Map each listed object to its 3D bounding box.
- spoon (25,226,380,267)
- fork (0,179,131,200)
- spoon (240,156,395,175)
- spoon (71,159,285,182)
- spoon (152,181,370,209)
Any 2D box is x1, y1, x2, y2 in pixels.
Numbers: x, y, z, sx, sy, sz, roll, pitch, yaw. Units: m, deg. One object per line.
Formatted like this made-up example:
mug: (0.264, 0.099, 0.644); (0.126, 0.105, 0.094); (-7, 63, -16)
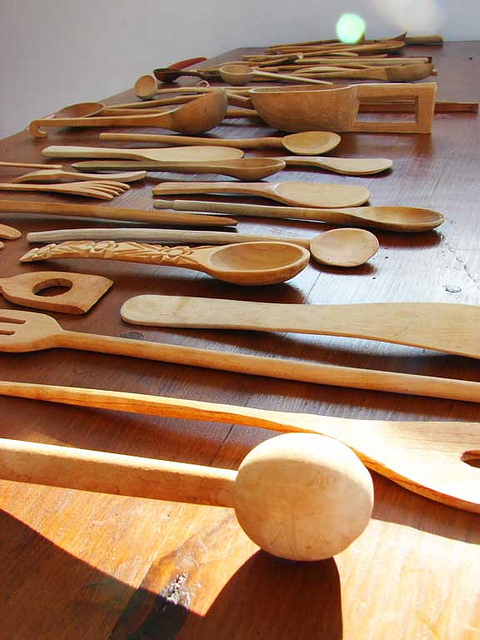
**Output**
spoon: (-0.034, -0.064, 0.478); (0.208, 0.025, 0.038); (5, 11, 16)
fork: (-0.221, -0.166, 0.679); (0.192, 0.009, 0.035); (5, 42, 10)
spoon: (0.101, -0.203, 0.701); (0.210, 0.016, 0.029); (5, 34, 24)
spoon: (-0.077, -0.201, 0.716); (0.254, 0.026, 0.049); (1, 21, 19)
spoon: (0.023, -0.142, 0.609); (0.220, 0.016, 0.042); (4, 33, 14)
